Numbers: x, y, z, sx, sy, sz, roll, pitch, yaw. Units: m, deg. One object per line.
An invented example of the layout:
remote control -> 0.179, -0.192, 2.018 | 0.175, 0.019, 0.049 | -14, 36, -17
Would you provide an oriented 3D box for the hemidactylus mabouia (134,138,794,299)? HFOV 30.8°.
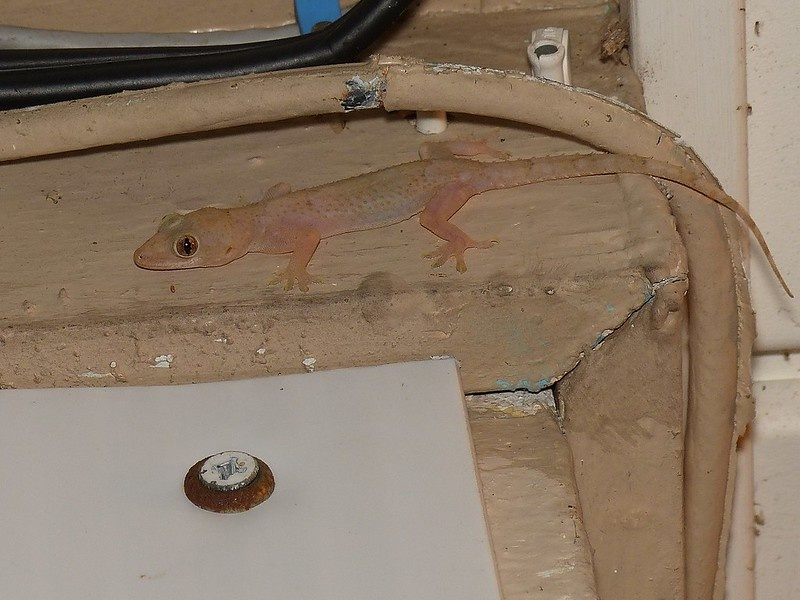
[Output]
hemidactylus mabouia -> 0.039, -0.188, 2.754 | 0.968, 0.075, 0.410 | -12, 55, -6
